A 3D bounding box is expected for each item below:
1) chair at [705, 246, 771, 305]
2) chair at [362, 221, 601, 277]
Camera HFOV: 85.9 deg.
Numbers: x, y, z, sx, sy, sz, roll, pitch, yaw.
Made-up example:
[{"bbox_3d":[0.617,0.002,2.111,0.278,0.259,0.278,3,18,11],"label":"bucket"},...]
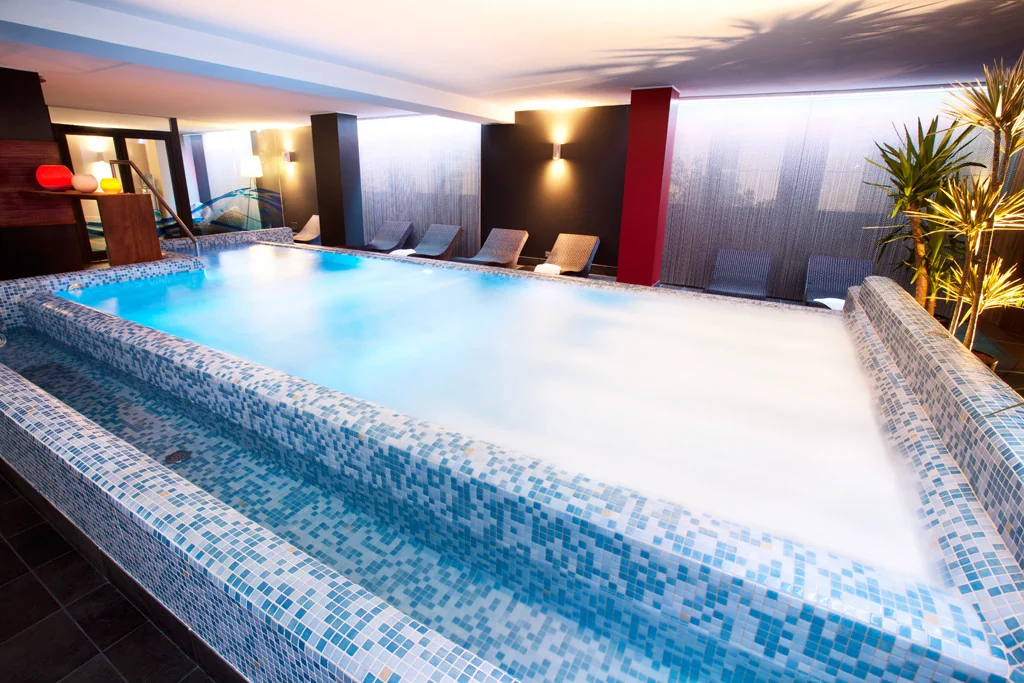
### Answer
[{"bbox_3d":[3.184,-0.958,7.701,0.716,0.549,1.001,9,21,21],"label":"chair"},{"bbox_3d":[-0.115,-1.474,8.755,3.115,0.578,1.150,18,25,40],"label":"chair"}]
